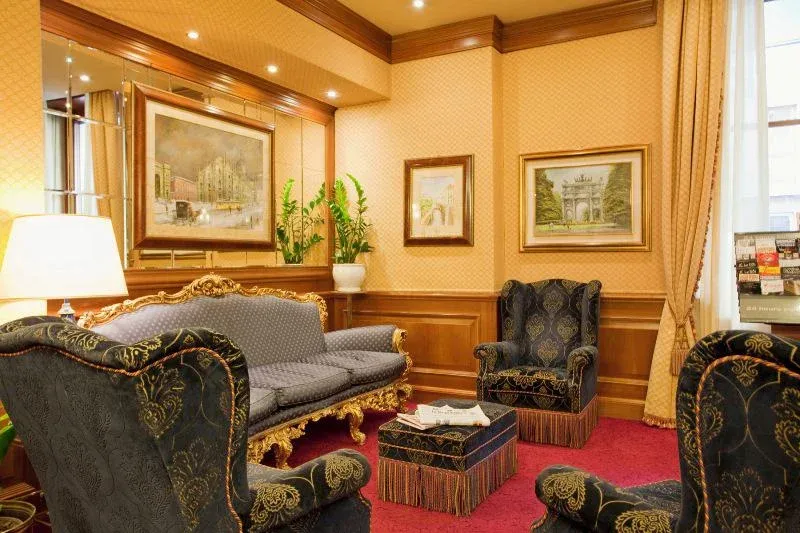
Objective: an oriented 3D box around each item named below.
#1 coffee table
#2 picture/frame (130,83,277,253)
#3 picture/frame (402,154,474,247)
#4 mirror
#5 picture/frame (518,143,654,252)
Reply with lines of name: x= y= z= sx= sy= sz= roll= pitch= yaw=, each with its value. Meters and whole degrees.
coffee table: x=0.272 y=1.237 z=3.569 sx=0.566 sy=0.377 sz=0.771 roll=-1 pitch=0 yaw=27
picture/frame: x=-1.670 y=-0.800 z=4.538 sx=0.097 sy=1.258 sz=1.564 roll=-4 pitch=-6 yaw=33
picture/frame: x=0.416 y=-0.676 z=5.586 sx=0.946 sy=1.062 sz=0.079 roll=-1 pitch=-4 yaw=28
mirror: x=-1.744 y=-0.967 z=4.326 sx=0.047 sy=1.202 sz=2.205 roll=-5 pitch=-6 yaw=30
picture/frame: x=1.832 y=-0.655 z=5.246 sx=1.062 sy=0.874 sz=0.073 roll=-2 pitch=-4 yaw=23
